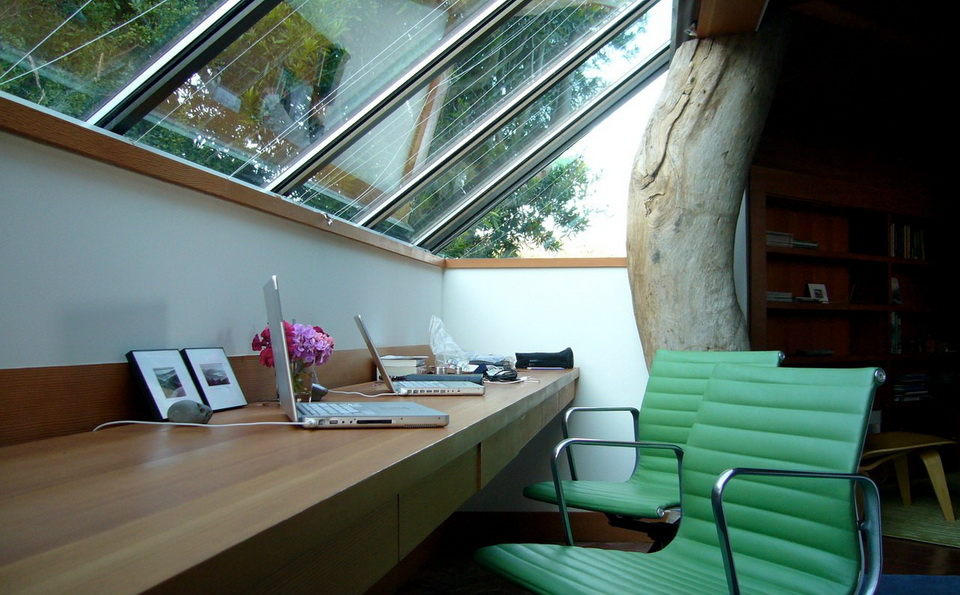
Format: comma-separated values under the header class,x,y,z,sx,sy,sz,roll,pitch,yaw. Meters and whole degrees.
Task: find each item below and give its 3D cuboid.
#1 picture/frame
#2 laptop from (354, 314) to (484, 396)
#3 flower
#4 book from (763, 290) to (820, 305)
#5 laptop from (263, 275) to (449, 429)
class,x,y,z,sx,sy,sz,roll,pitch,yaw
picture/frame,-0.939,0.275,1.849,0.032,0.140,0.248,-33,-14,19
laptop,-0.251,0.265,2.417,0.394,0.231,0.390,0,-4,-8
flower,-0.749,0.243,2.206,0.311,0.300,0.311,-5,-2,25
book,2.351,-0.006,4.386,0.289,0.096,0.701,4,5,38
laptop,-0.385,0.092,1.794,0.458,0.371,0.568,0,-3,-13
